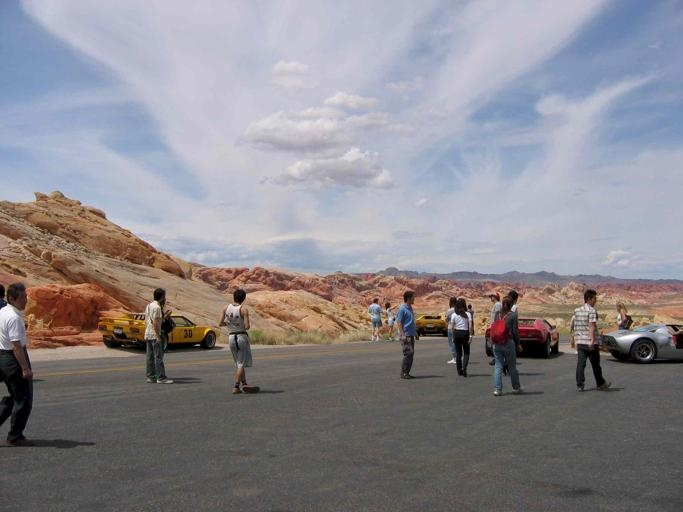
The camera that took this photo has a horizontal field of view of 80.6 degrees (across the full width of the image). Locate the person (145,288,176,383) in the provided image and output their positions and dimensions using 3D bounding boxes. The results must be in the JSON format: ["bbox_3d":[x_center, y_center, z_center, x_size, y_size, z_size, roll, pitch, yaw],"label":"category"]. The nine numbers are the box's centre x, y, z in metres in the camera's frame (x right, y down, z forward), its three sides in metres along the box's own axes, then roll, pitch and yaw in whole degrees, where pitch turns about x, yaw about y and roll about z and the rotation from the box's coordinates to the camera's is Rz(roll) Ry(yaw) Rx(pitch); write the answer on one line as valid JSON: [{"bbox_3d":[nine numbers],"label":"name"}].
[{"bbox_3d":[-5.144,2.241,11.265,0.720,2.597,1.077,4,-10,-24],"label":"person"}]

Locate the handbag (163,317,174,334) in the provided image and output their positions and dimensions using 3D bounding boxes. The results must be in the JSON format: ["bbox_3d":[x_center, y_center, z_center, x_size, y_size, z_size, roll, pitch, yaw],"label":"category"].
[{"bbox_3d":[-5.233,2.065,11.878,0.384,0.461,0.476,1,0,1],"label":"handbag"}]

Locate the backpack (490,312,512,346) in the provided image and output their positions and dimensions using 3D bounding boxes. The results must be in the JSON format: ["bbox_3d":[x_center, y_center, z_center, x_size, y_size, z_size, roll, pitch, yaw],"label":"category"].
[{"bbox_3d":[3.907,1.830,9.948,0.616,0.724,0.272,1,-9,-7],"label":"backpack"}]
